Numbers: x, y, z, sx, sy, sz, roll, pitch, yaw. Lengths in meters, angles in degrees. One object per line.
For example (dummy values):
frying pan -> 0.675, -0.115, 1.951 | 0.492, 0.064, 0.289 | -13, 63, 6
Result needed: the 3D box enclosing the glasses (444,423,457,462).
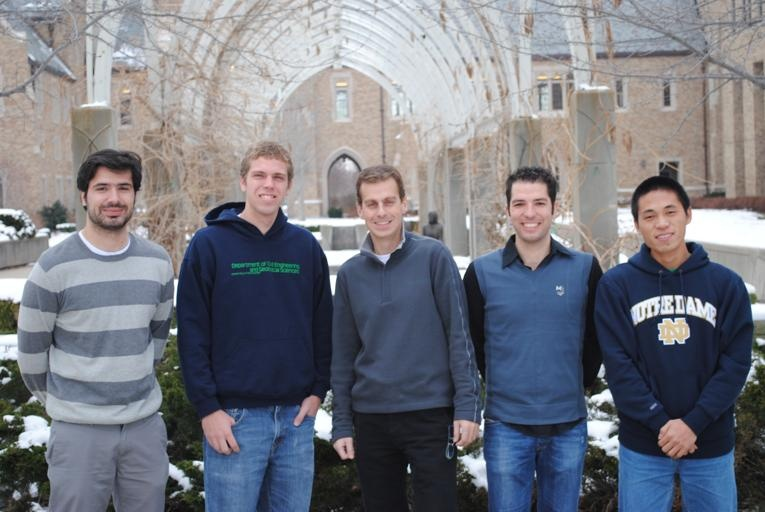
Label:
glasses -> 0.544, 1.517, 8.143 | 0.088, 0.281, 0.045 | -2, 1, 1
